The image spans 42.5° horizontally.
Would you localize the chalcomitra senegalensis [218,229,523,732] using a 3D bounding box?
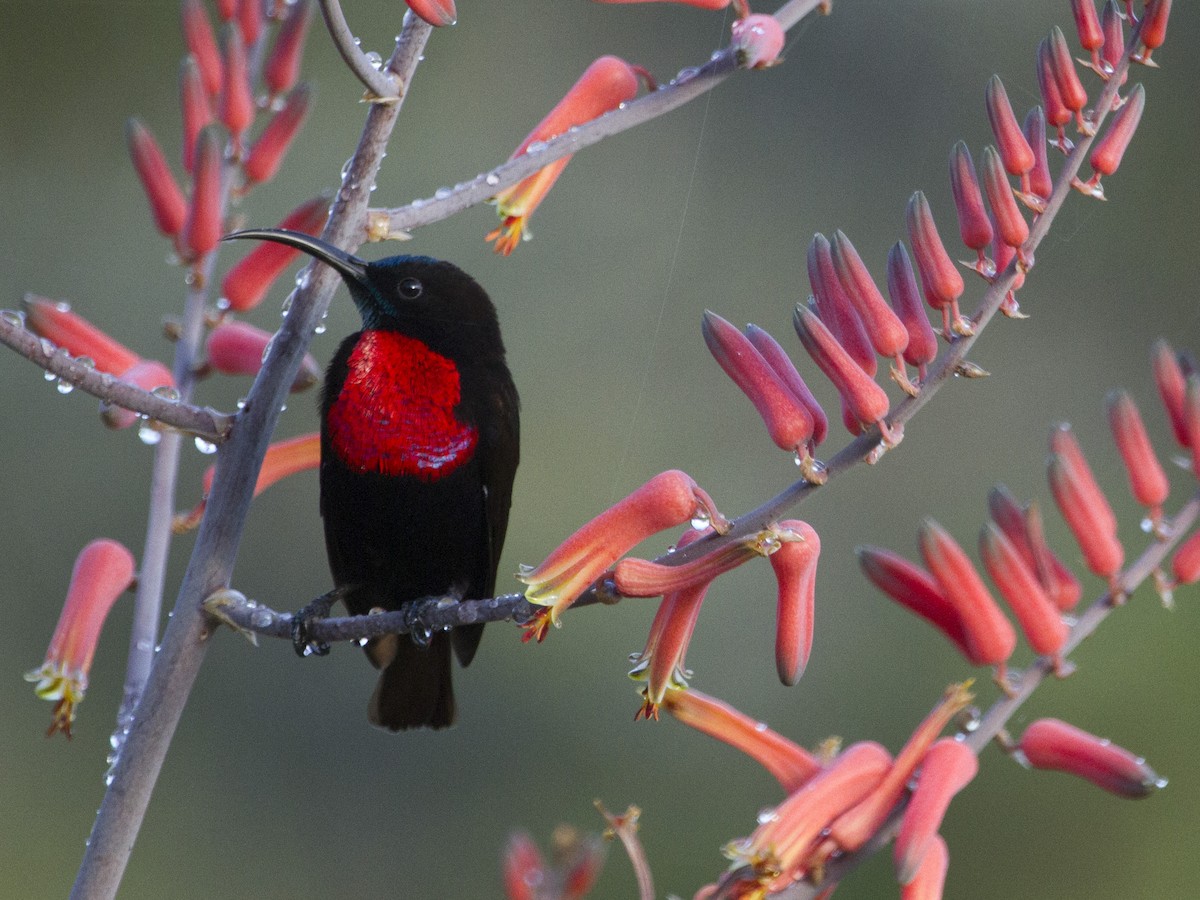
[{"bbox_3d":[-0.281,0.039,2.173,0.243,0.663,0.641,0,-5,23],"label":"chalcomitra senegalensis"}]
